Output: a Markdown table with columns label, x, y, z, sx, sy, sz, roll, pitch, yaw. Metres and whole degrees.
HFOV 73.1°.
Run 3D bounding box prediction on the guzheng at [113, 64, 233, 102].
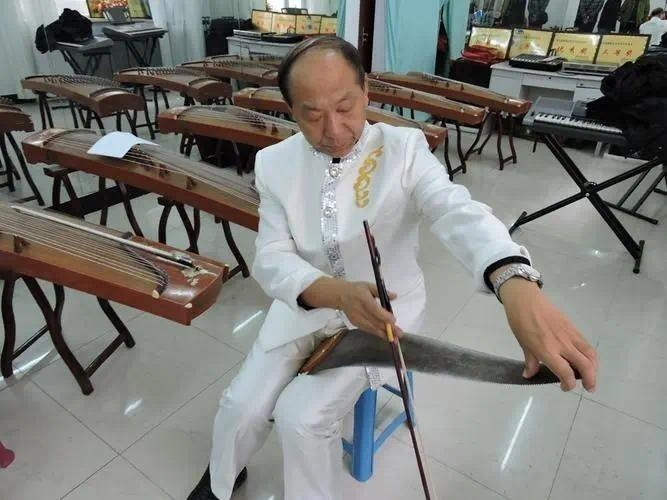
| label | x | y | z | sx | sy | sz | roll | pitch | yaw |
| --- | --- | --- | --- | --- | --- | --- | --- | --- | --- |
| guzheng | -1.214 | -1.319 | 3.489 | 0.618 | 0.176 | 0.350 | 17 | 37 | 12 |
